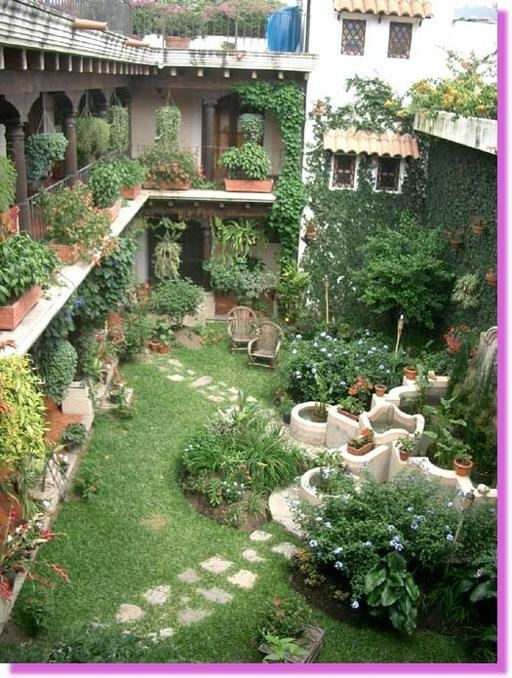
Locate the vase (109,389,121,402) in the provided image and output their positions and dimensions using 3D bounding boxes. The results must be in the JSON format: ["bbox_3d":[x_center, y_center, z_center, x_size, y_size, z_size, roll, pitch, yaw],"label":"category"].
[{"bbox_3d":[-2.116,0.866,8.333,0.170,0.183,0.180,-8,15,-21],"label":"vase"}]

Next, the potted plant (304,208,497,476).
[{"bbox_3d":[2.595,0.176,9.682,3.041,1.853,4.012,-17,37,-43],"label":"potted plant"}]
